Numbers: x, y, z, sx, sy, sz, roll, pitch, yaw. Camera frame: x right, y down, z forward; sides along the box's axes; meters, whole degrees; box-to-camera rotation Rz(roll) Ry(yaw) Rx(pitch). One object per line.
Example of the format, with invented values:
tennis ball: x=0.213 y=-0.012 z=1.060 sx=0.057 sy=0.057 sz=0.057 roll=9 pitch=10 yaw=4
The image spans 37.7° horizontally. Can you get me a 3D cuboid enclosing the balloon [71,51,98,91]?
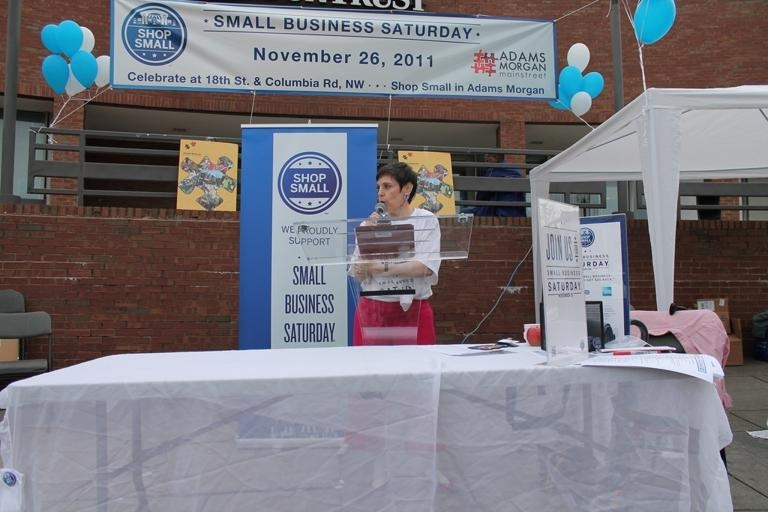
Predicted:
balloon: x=-4.583 y=-2.864 z=17.308 sx=0.398 sy=0.611 sz=0.406 roll=0 pitch=10 yaw=-5

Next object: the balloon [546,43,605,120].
balloon: x=3.043 y=-2.753 z=18.171 sx=0.809 sy=1.503 sz=0.496 roll=1 pitch=4 yaw=-24

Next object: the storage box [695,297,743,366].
storage box: x=5.497 y=1.210 z=17.807 sx=0.906 sy=1.044 sz=0.861 roll=0 pitch=-3 yaw=-3

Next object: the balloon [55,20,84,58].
balloon: x=-4.785 y=-3.278 z=17.168 sx=0.449 sy=0.729 sz=0.441 roll=6 pitch=36 yaw=-7

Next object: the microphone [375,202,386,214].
microphone: x=-0.038 y=-0.561 z=13.751 sx=0.101 sy=0.114 sz=0.105 roll=-1 pitch=12 yaw=13

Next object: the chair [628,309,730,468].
chair: x=4.172 y=1.917 z=15.829 sx=1.368 sy=2.284 sz=1.438 roll=3 pitch=2 yaw=9

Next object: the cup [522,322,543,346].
cup: x=1.807 y=0.968 z=13.608 sx=0.232 sy=0.278 sz=0.235 roll=2 pitch=-9 yaw=0

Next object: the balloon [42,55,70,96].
balloon: x=-5.008 y=-2.792 z=17.288 sx=0.384 sy=0.564 sz=0.290 roll=-7 pitch=13 yaw=-17

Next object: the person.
person: x=0.183 y=0.116 z=13.992 sx=0.983 sy=2.403 sz=0.906 roll=6 pitch=-2 yaw=19
